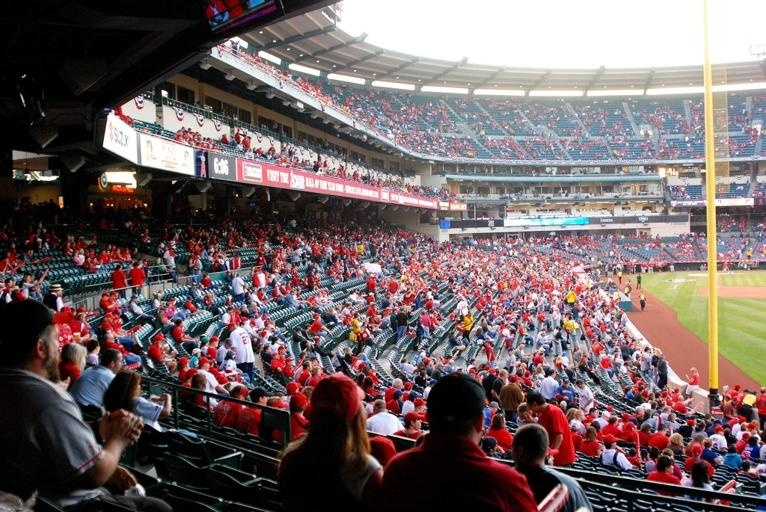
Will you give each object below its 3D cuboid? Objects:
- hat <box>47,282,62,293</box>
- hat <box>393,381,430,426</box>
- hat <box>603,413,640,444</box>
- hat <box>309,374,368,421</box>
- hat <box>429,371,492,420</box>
[{"bbox_3d":[-6.822,0.642,11.958,0.237,0.097,0.273,7,0,17],"label":"hat"},{"bbox_3d":[0.477,2.411,9.570,0.436,0.391,0.752,2,8,30],"label":"hat"},{"bbox_3d":[4.029,2.914,9.760,0.586,0.345,0.800,5,-4,27],"label":"hat"},{"bbox_3d":[-0.394,1.152,4.727,0.287,0.214,0.415,5,32,10],"label":"hat"},{"bbox_3d":[0.576,1.105,4.569,0.440,0.385,0.181,3,1,4],"label":"hat"}]
